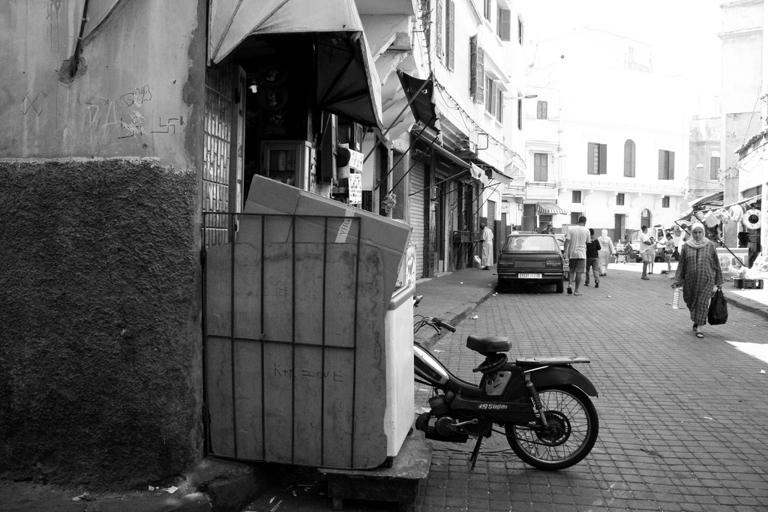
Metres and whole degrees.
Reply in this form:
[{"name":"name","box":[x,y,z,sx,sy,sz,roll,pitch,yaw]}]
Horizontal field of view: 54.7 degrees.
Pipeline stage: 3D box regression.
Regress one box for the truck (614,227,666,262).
[{"name":"truck","box":[14.365,-0.621,41.676,1.982,1.875,3.087,-4,-6,41]}]

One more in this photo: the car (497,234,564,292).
[{"name":"car","box":[3.927,0.140,19.990,1.085,1.005,2.079,0,5,8]}]

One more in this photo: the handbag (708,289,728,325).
[{"name":"handbag","box":[5.549,0.829,12.393,0.286,0.616,0.488,3,3,24]}]

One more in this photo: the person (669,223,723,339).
[{"name":"person","box":[5.310,0.395,12.534,0.537,1.886,0.811,-1,4,-43]}]
